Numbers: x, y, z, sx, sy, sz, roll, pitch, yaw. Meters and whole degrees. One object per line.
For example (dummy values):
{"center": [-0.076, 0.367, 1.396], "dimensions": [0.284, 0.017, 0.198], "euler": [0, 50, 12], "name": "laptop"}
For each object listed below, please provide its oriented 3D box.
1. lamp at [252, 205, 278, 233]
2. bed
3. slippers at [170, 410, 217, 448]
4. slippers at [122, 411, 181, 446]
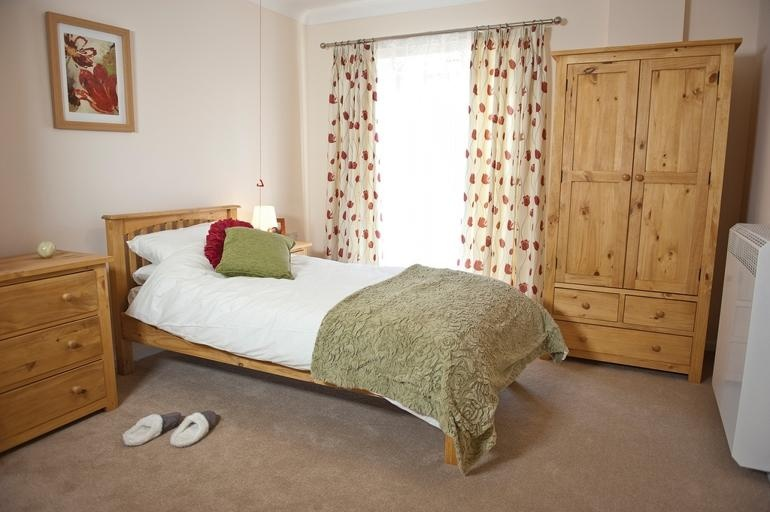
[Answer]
{"center": [-1.189, -0.361, 5.300], "dimensions": [0.269, 0.264, 0.258], "euler": [-2, 13, -3], "name": "lamp"}
{"center": [-0.577, 0.393, 4.179], "dimensions": [3.052, 1.199, 1.867], "euler": [4, 12, 24], "name": "bed"}
{"center": [-1.320, 1.196, 3.707], "dimensions": [0.147, 0.080, 0.265], "euler": [5, 24, 22], "name": "slippers"}
{"center": [-1.626, 1.196, 3.691], "dimensions": [0.176, 0.076, 0.258], "euler": [4, 13, 37], "name": "slippers"}
